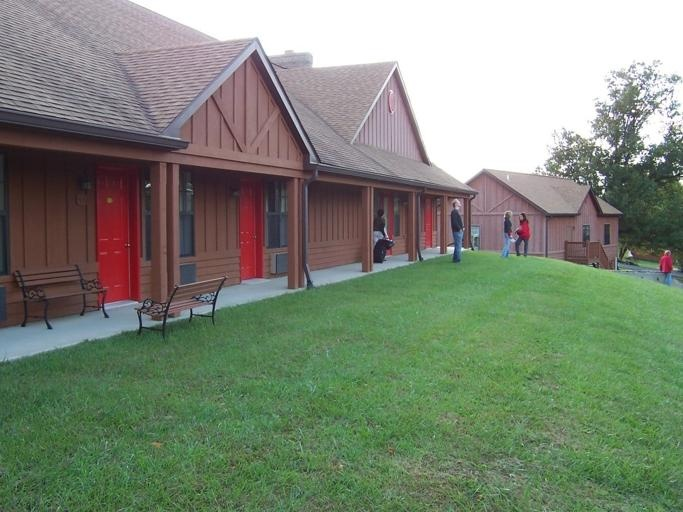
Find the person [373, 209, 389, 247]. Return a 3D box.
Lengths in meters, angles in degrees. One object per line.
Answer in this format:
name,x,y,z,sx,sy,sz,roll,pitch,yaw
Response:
person,1.443,-1.068,20.453,0.562,1.351,1.599,-2,2,3

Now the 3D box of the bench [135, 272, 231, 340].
bench,-2.863,0.923,9.867,0.732,0.963,1.906,3,3,11
